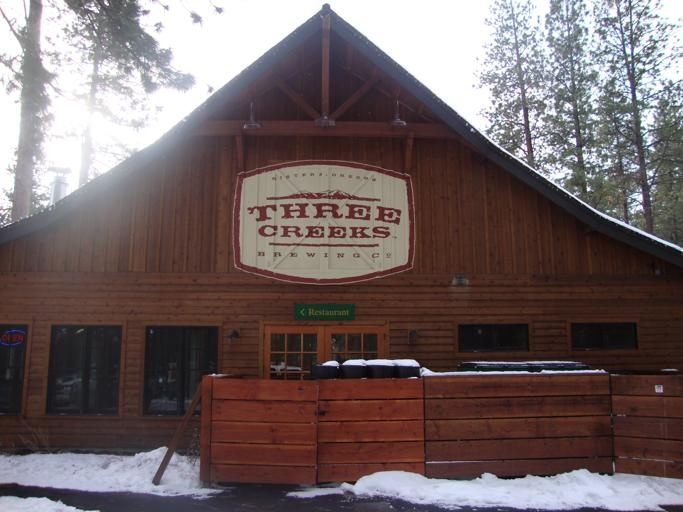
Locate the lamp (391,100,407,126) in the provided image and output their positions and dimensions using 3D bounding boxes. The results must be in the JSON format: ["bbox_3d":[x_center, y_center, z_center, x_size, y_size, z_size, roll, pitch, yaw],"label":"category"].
[{"bbox_3d":[1.474,-3.676,16.100,0.381,0.732,0.916,-1,9,6],"label":"lamp"}]

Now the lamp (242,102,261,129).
[{"bbox_3d":[-2.293,-3.590,15.984,0.435,0.740,0.822,-3,9,-8],"label":"lamp"}]

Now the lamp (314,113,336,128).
[{"bbox_3d":[-0.401,-3.329,15.557,0.527,0.386,0.271,0,-5,-6],"label":"lamp"}]

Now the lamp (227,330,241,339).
[{"bbox_3d":[-2.683,1.949,15.612,0.158,0.259,0.271,6,12,44],"label":"lamp"}]

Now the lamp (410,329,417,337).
[{"bbox_3d":[1.794,1.921,15.734,0.140,0.140,0.136,4,-10,-12],"label":"lamp"}]
